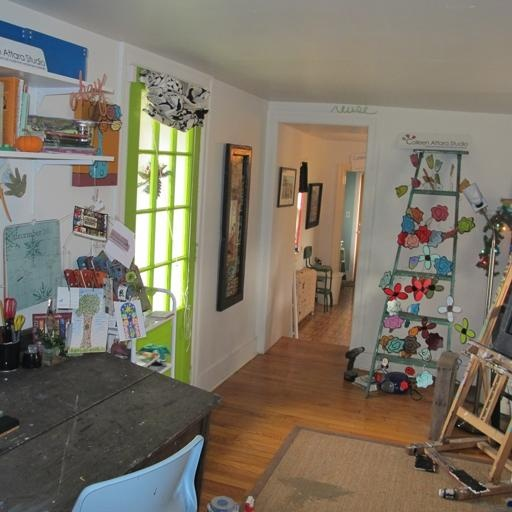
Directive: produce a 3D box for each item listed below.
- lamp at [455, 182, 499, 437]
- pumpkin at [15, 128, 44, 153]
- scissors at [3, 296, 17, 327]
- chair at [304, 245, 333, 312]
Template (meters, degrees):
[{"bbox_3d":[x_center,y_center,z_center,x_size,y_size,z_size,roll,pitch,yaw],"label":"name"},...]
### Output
[{"bbox_3d":[2.044,0.289,3.948,0.381,2.097,1.412,4,4,25],"label":"lamp"},{"bbox_3d":[-0.859,-0.439,1.679,0.100,0.099,0.101,-1,8,20],"label":"pumpkin"},{"bbox_3d":[-1.065,0.232,1.862,0.048,0.145,0.035,2,1,-9],"label":"scissors"},{"bbox_3d":[1.217,0.385,8.299,0.564,1.182,0.895,2,4,10],"label":"chair"}]
